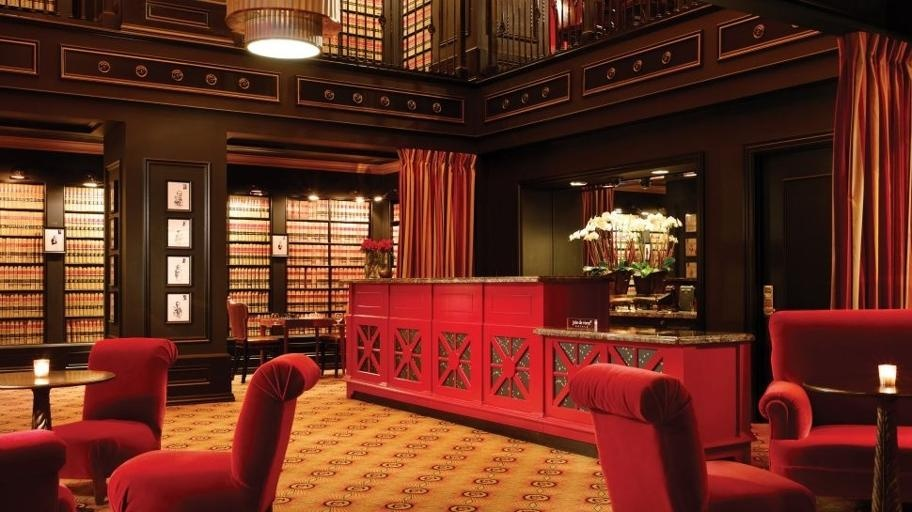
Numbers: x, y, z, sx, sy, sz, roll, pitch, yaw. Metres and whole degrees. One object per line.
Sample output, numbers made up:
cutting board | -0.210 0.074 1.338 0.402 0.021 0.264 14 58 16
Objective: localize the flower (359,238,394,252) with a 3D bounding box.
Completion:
flower | -1.145 -0.136 9.619 0.282 0.175 0.301 -2 -4 37

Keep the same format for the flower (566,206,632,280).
flower | 2.232 -0.206 9.789 0.979 0.933 0.829 0 -2 -30

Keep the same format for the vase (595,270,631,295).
vase | 2.176 0.369 9.177 0.472 0.358 0.493 1 0 -20

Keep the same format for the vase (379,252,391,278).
vase | -1.016 0.126 9.631 0.147 0.353 0.312 0 5 5

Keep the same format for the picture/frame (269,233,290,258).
picture/frame | -3.355 -0.192 12.491 0.493 0.563 0.059 0 1 -24

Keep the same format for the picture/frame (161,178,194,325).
picture/frame | -3.865 -0.048 9.230 0.354 1.987 0.243 -2 5 -13

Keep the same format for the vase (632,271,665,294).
vase | 2.649 0.394 9.081 0.336 0.241 0.365 1 -4 0

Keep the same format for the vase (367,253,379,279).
vase | -1.222 0.130 9.600 0.231 0.361 0.082 2 6 24

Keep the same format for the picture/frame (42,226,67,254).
picture/frame | -7.032 -0.278 11.572 0.515 0.581 0.062 0 0 -24

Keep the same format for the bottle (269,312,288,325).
bottle | -3.001 1.069 11.172 0.275 0.119 0.274 1 -5 0

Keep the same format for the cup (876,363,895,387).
cup | 3.337 0.921 5.110 0.173 0.198 0.171 3 -5 0

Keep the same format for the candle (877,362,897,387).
candle | 3.308 0.924 5.135 0.183 0.207 0.182 0 -5 27

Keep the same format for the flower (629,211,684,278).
flower | 2.864 -0.238 9.454 0.168 0.795 0.737 -5 6 -42
